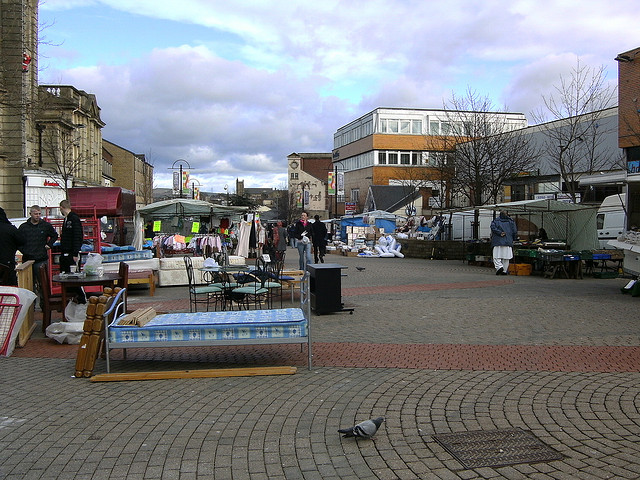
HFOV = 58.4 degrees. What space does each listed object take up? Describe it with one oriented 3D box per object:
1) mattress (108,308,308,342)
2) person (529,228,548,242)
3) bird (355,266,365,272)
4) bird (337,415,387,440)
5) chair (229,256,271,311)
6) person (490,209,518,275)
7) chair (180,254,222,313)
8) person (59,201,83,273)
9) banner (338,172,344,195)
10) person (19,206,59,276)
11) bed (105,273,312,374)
[{"bbox_3d":[-1.458,1.177,7.825,2.568,0.255,0.732,-1,4,-4],"label":"mattress"},{"bbox_3d":[8.440,-0.169,22.204,0.507,0.522,0.777,-2,3,-40],"label":"person"},{"bbox_3d":[1.560,1.111,21.484,0.291,0.106,0.161,-4,32,-4],"label":"bird"},{"bbox_3d":[0.424,1.798,5.533,0.533,0.229,0.171,6,-40,4],"label":"bird"},{"bbox_3d":[-1.437,0.924,11.720,0.682,1.068,0.635,-7,-4,31],"label":"chair"},{"bbox_3d":[6.180,0.117,19.366,0.990,2.174,0.671,-4,6,-38],"label":"person"},{"bbox_3d":[-2.373,0.958,11.664,0.839,1.259,0.711,2,1,-22],"label":"chair"},{"bbox_3d":[-5.169,-0.067,11.861,0.433,1.453,0.668,-3,5,-24],"label":"person"},{"bbox_3d":[1.989,-5.386,54.990,0.436,2.079,1.444,0,4,12],"label":"banner"},{"bbox_3d":[-5.869,0.016,11.806,0.503,1.401,0.914,1,5,17],"label":"person"},{"bbox_3d":[-1.555,1.182,8.018,2.526,1.112,1.364,-1,2,-6],"label":"bed"}]
